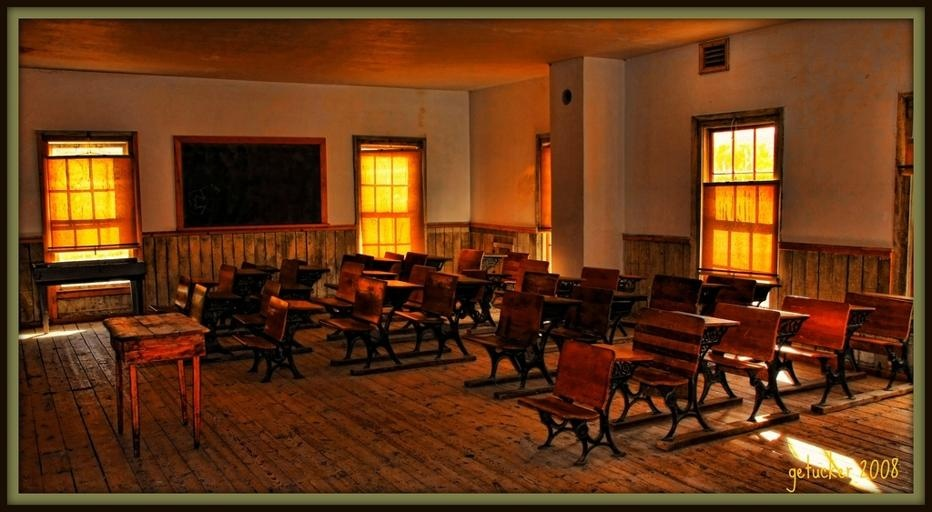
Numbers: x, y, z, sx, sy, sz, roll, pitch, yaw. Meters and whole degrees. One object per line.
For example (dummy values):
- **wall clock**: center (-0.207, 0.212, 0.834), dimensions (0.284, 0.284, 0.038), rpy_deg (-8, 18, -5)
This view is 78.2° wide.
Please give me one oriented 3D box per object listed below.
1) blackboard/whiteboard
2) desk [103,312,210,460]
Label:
- **blackboard/whiteboard**: center (-4.597, -1.541, 11.950), dimensions (2.604, 1.360, 0.115), rpy_deg (-2, 5, -19)
- **desk**: center (-3.254, 1.417, 6.092), dimensions (0.971, 0.929, 0.924), rpy_deg (-3, -17, -47)
